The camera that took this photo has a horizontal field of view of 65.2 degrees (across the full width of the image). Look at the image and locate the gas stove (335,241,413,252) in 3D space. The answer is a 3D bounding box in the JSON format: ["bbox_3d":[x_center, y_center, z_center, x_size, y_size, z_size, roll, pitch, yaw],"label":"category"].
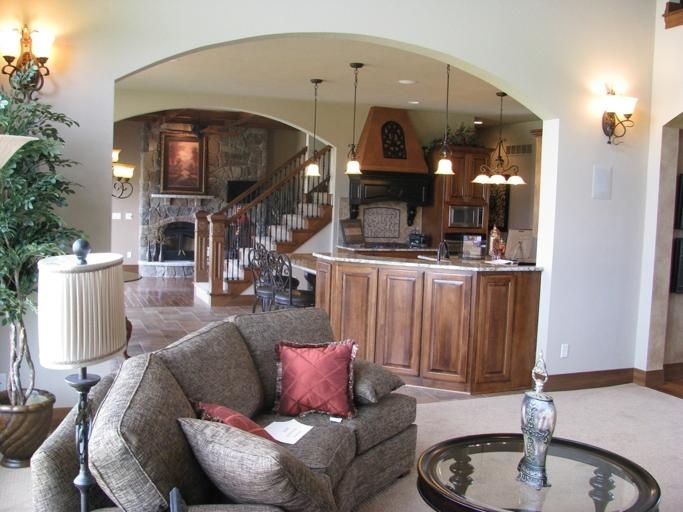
[{"bbox_3d":[0.641,-0.175,8.702,1.443,0.163,1.105,-1,3,-24],"label":"gas stove"}]

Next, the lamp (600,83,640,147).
[{"bbox_3d":[2.761,-1.397,5.198,0.489,0.590,0.282,-2,4,-30],"label":"lamp"}]

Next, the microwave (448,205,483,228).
[{"bbox_3d":[2.157,-0.710,9.305,0.628,0.401,0.376,0,4,-19],"label":"microwave"}]

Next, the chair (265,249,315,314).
[{"bbox_3d":[-0.536,0.407,6.232,0.635,0.885,0.610,2,3,-19],"label":"chair"}]

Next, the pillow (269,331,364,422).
[{"bbox_3d":[-0.175,0.778,3.365,0.511,0.484,0.178,-3,-9,6],"label":"pillow"}]

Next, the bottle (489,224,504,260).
[{"bbox_3d":[1.656,-0.140,5.656,0.148,0.331,0.605,1,3,17],"label":"bottle"}]

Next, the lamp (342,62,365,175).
[{"bbox_3d":[0.183,-1.925,7.436,0.287,1.477,0.284,-1,18,-8],"label":"lamp"}]

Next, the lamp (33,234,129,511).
[{"bbox_3d":[-1.097,0.494,2.293,0.339,1.132,0.398,-2,4,-22],"label":"lamp"}]

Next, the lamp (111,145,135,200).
[{"bbox_3d":[-4.100,-1.550,10.044,0.607,0.743,0.785,-8,4,-19],"label":"lamp"}]

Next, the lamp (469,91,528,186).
[{"bbox_3d":[2.761,-2.050,9.293,1.055,1.527,1.031,-8,17,-24],"label":"lamp"}]

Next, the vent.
[{"bbox_3d":[0.820,-0.951,9.233,1.481,0.916,0.560,0,9,-12],"label":"vent"}]

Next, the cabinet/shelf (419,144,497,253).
[{"bbox_3d":[2.131,-0.781,9.547,0.894,2.054,0.599,-1,13,-7],"label":"cabinet/shelf"}]

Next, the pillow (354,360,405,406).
[{"bbox_3d":[0.227,0.827,3.484,0.264,0.084,0.263,-6,9,-32],"label":"pillow"}]
